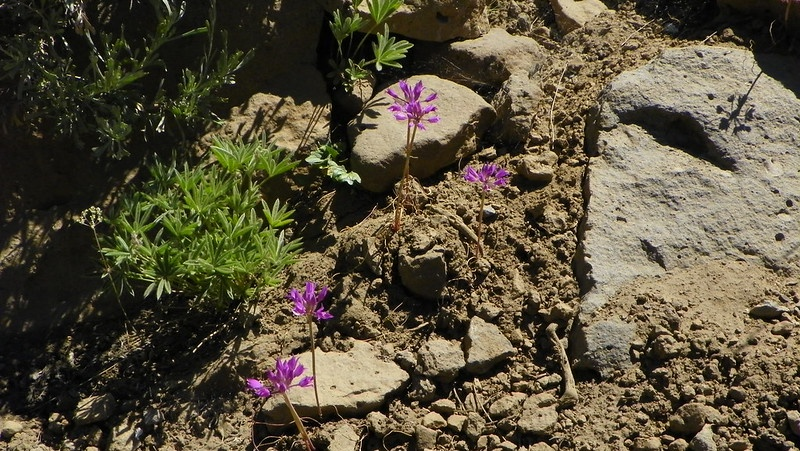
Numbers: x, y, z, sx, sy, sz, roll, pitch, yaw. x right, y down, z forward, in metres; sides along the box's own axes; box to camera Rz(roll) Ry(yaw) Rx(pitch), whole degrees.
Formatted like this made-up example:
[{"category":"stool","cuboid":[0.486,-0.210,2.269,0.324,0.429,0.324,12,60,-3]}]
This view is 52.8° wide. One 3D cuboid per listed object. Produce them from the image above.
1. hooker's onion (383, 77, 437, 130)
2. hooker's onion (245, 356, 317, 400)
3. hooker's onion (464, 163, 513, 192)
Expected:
[{"category":"hooker's onion","cuboid":[0.105,-1.105,7.614,0.532,0.337,0.555,11,64,9]},{"category":"hooker's onion","cuboid":[-1.029,1.294,6.941,0.487,0.297,0.496,-8,0,-15]},{"category":"hooker's onion","cuboid":[0.801,-0.392,7.492,0.325,0.210,0.339,4,24,4]}]
